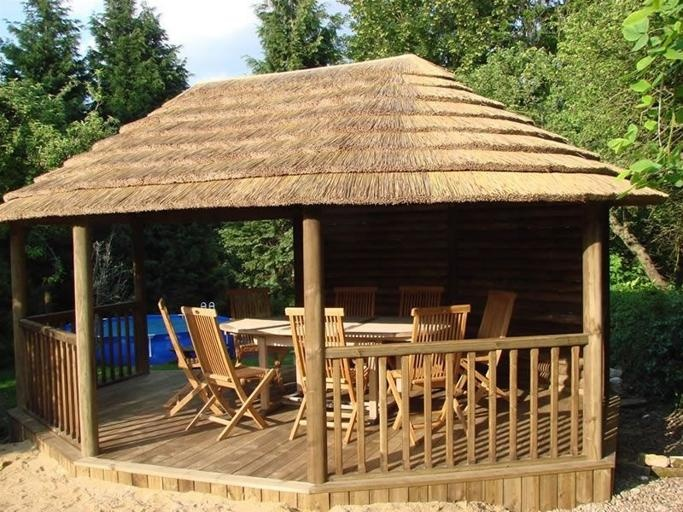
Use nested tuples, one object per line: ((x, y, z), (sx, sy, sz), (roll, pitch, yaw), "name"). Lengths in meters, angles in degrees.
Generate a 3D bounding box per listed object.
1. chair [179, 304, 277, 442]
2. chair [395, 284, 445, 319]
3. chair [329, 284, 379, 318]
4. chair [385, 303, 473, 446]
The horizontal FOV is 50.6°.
((-1.679, 1.623, 10.756), (1.212, 1.832, 1.617), (1, 3, 3), "chair")
((1.359, 0.777, 12.793), (0.676, 0.862, 0.641), (2, -16, 0), "chair")
((0.252, 0.828, 13.232), (0.664, 0.810, 0.635), (1, -3, 8), "chair")
((1.182, 1.613, 10.057), (1.100, 1.898, 2.038), (2, 3, 9), "chair")
